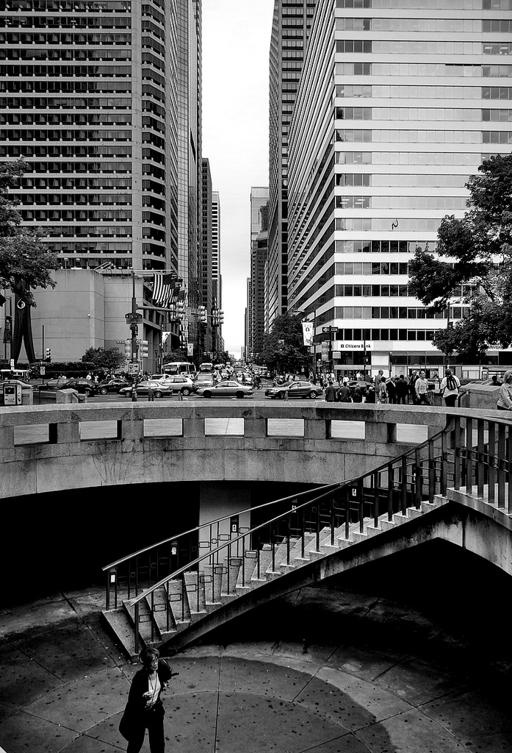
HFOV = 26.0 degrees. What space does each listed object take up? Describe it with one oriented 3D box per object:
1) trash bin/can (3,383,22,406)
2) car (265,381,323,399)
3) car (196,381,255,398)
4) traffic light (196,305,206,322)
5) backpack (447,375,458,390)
[{"bbox_3d":[-7.355,0.554,33.480,0.392,0.899,0.550,0,-3,-10],"label":"trash bin/can"},{"bbox_3d":[1.810,0.695,51.413,1.959,1.088,1.182,3,-1,-4],"label":"car"},{"bbox_3d":[-1.342,0.656,50.405,1.872,1.043,1.122,5,-1,4],"label":"car"},{"bbox_3d":[-1.767,-1.942,34.832,0.245,0.592,0.452,0,3,7],"label":"traffic light"},{"bbox_3d":[4.599,0.148,25.846,0.159,0.378,0.288,-1,14,8],"label":"backpack"}]
